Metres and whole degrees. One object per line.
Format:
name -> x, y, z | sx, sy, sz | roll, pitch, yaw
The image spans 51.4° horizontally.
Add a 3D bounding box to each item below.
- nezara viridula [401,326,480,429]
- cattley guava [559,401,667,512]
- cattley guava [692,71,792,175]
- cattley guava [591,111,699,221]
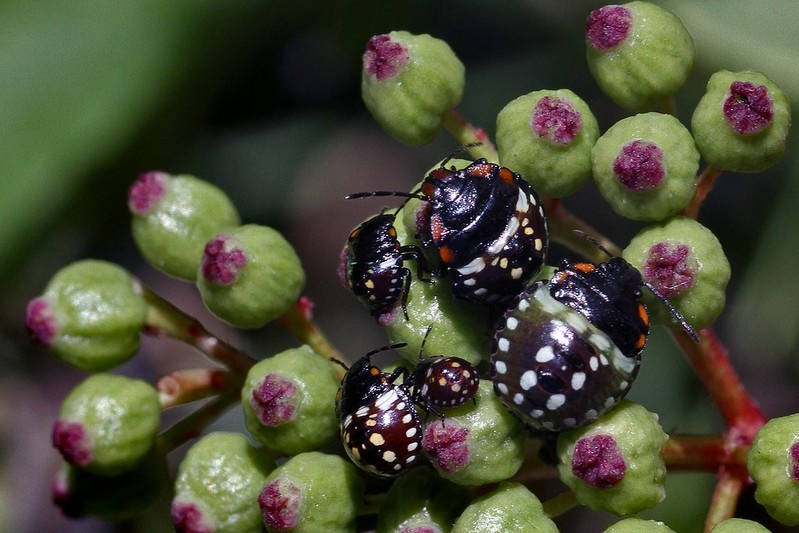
nezara viridula -> 0.169, 0.453, 3.315 | 0.337, 0.287, 0.117 | 19, 3, 38
cattley guava -> 0.823, 0.736, 3.152 | 0.398, 0.410, 0.252 | 5, 0, 4
cattley guava -> 1.327, -0.549, 3.221 | 0.361, 0.379, 0.218 | -4, 4, 7
cattley guava -> 0.964, -0.401, 3.282 | 0.394, 0.299, 0.284 | 7, 45, 5
